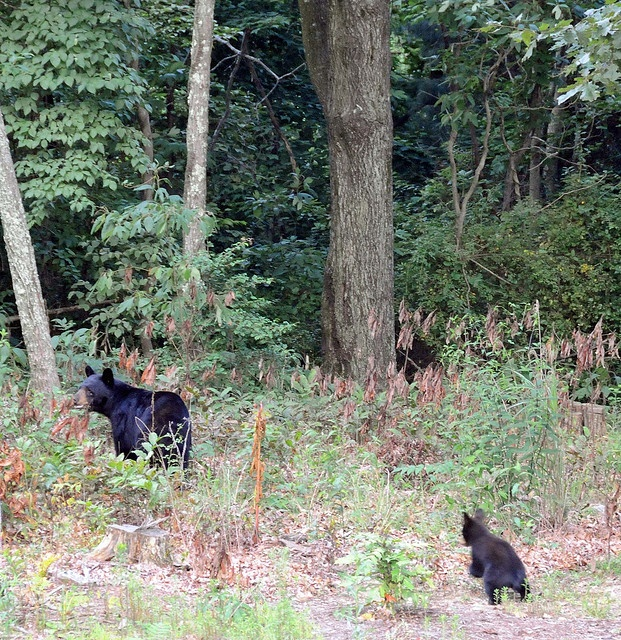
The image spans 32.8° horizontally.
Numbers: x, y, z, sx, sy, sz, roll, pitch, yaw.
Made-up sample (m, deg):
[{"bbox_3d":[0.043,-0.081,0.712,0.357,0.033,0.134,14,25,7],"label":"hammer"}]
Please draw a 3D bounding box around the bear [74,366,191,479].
[{"bbox_3d":[-1.521,0.890,9.297,1.324,0.631,0.397,19,-10,-41],"label":"bear"}]

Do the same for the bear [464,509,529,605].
[{"bbox_3d":[1.353,1.748,7.780,0.306,0.486,0.792,-8,15,-19],"label":"bear"}]
